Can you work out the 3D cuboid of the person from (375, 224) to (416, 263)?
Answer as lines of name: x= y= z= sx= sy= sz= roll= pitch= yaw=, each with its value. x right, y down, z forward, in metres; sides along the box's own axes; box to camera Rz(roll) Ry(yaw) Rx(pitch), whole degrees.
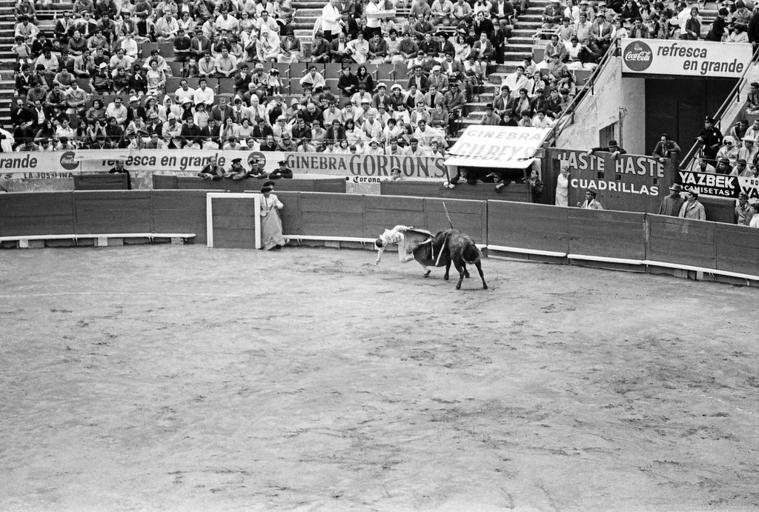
person: x=0.361 y=-0.252 z=27.343 sx=0.835 sy=1.131 sz=1.773 roll=0 pitch=12 yaw=0

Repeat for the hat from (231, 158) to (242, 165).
hat: x=-4.021 y=-2.668 z=33.055 sx=0.229 sy=0.166 sz=0.242 roll=0 pitch=12 yaw=-1

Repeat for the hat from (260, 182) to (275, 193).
hat: x=-2.833 y=-1.739 z=29.735 sx=0.200 sy=0.237 sz=0.370 roll=4 pitch=13 yaw=20

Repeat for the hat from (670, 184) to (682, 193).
hat: x=6.808 y=-1.546 z=26.776 sx=0.235 sy=0.104 sz=0.216 roll=1 pitch=5 yaw=1

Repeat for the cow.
cow: x=1.635 y=0.043 z=25.960 sx=0.659 sy=1.259 sz=1.656 roll=-10 pitch=16 yaw=-36

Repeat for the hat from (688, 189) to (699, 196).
hat: x=7.195 y=-1.448 z=26.703 sx=0.219 sy=0.067 sz=0.149 roll=7 pitch=8 yaw=-6

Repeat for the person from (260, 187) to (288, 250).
person: x=-2.734 y=-1.002 z=29.715 sx=0.612 sy=1.637 sz=0.345 roll=-9 pitch=16 yaw=-33
